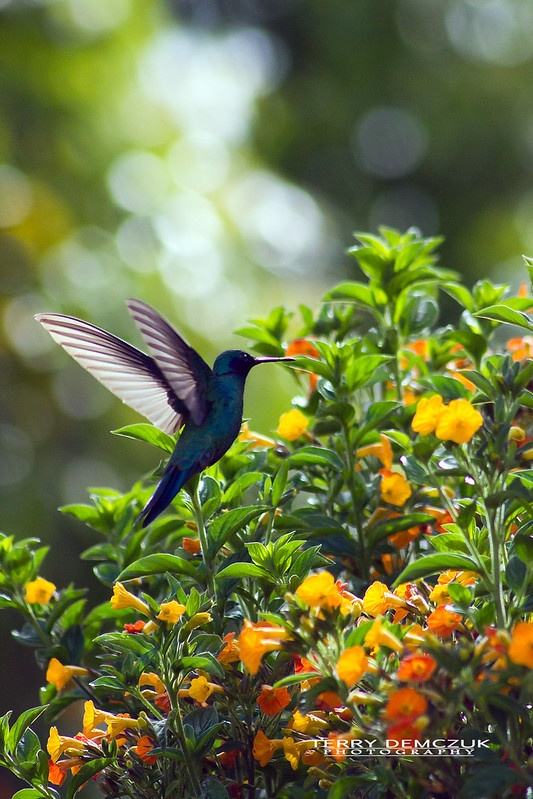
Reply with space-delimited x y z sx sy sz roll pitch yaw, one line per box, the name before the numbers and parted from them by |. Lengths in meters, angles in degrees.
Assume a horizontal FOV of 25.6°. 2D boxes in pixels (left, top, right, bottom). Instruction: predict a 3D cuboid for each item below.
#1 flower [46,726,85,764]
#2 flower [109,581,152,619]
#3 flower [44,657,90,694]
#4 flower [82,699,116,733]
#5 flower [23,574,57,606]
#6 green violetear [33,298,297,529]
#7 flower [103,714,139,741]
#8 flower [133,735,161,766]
flower | -0.456 0.791 2.641 0.116 0.060 0.060 9 -18 2
flower | -0.304 0.463 2.644 0.093 0.082 0.136 10 -27 -4
flower | -0.478 0.689 2.902 0.143 0.064 0.087 6 -8 -29
flower | -0.386 0.724 2.657 0.095 0.070 0.070 3 -56 -7
flower | -0.587 0.495 2.998 0.077 0.069 0.035 -15 5 -44
green violetear | -0.192 0.025 2.891 0.646 0.475 0.549 -16 -11 -21
flower | -0.321 0.734 2.590 0.083 0.036 0.048 0 -13 -5
flower | -0.266 0.773 2.568 0.030 0.058 0.059 -20 -37 8
